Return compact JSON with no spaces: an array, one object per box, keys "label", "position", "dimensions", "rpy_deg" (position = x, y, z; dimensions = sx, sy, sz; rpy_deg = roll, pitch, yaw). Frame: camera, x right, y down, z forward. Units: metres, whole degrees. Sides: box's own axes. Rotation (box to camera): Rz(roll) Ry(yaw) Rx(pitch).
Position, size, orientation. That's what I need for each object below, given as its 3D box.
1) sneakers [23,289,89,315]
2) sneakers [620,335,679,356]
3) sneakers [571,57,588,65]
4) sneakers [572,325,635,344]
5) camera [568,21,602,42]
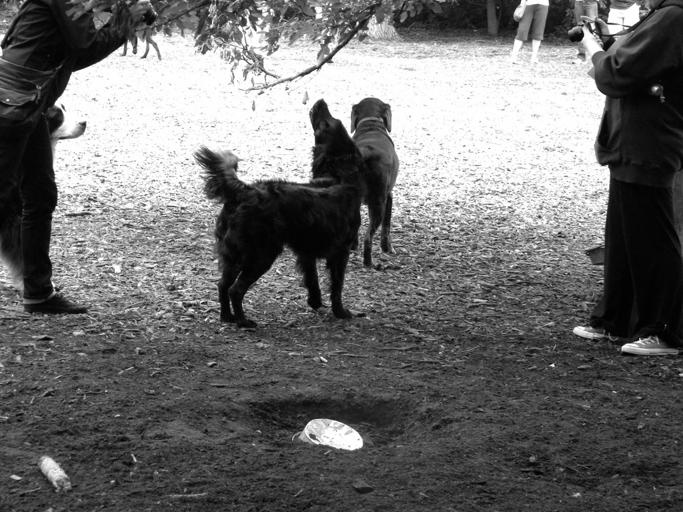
[{"label":"sneakers","position":[-2.066,0.345,5.352],"dimensions":[0.513,0.158,0.160],"rpy_deg":[0,5,-15]},{"label":"sneakers","position":[2.104,0.620,5.074],"dimensions":[0.432,0.121,0.133],"rpy_deg":[3,1,5]},{"label":"sneakers","position":[5.521,-4.511,16.955],"dimensions":[0.591,0.193,0.202],"rpy_deg":[-9,19,-35]},{"label":"sneakers","position":[1.915,0.565,5.391],"dimensions":[0.333,0.093,0.115],"rpy_deg":[11,6,27]},{"label":"camera","position":[1.638,-1.507,4.937],"dimensions":[0.175,0.094,0.288],"rpy_deg":[1,5,26]}]
